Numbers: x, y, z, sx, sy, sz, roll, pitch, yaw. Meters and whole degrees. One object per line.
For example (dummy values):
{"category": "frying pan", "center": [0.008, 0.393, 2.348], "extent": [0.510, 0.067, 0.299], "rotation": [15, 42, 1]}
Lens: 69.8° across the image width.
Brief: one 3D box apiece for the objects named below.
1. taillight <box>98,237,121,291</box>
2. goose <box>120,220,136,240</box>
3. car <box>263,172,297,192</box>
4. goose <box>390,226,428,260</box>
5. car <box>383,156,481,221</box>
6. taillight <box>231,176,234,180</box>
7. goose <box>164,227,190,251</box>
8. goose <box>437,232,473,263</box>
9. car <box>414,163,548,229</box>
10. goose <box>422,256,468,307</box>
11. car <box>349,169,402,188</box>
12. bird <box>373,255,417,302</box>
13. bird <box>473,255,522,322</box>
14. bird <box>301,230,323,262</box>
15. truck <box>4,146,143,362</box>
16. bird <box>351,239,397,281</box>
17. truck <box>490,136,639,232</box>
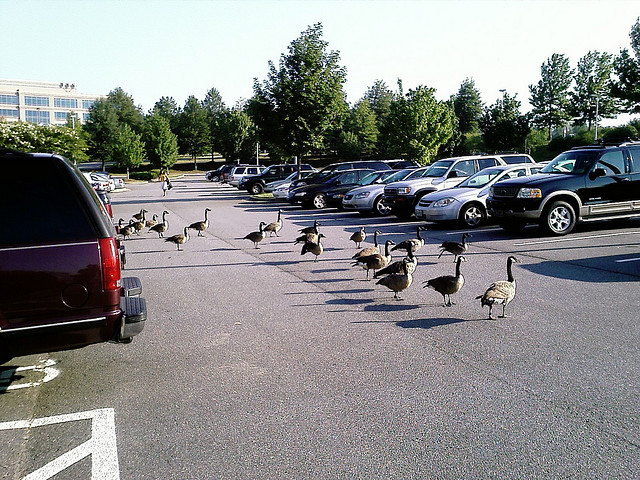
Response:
{"category": "taillight", "center": [-2.166, 0.234, 4.747], "extent": [0.162, 0.540, 0.238], "rotation": [6, 12, 38]}
{"category": "goose", "center": [-6.762, -0.304, 16.097], "extent": [0.441, 0.546, 1.124], "rotation": [-5, 11, -19]}
{"category": "car", "center": [-2.639, -4.550, 36.072], "extent": [3.168, 1.235, 1.498], "rotation": [-4, 7, -17]}
{"category": "goose", "center": [2.162, 0.073, 11.304], "extent": [0.928, 0.824, 0.328], "rotation": [-2, 8, 5]}
{"category": "car", "center": [4.423, -2.172, 18.413], "extent": [3.355, 1.719, 1.901], "rotation": [-7, 8, -15]}
{"category": "taillight", "center": [-9.448, -6.662, 49.209], "extent": [0.479, 0.334, 0.068], "rotation": [7, 13, 41]}
{"category": "goose", "center": [-4.362, -0.026, 14.089], "extent": [0.576, 0.526, 0.970], "rotation": [-5, 11, -20]}
{"category": "goose", "center": [3.241, 0.154, 11.102], "extent": [0.798, 0.690, 0.293], "rotation": [4, 6, 37]}
{"category": "car", "center": [5.602, -1.725, 16.607], "extent": [4.585, 1.804, 2.150], "rotation": [-7, 7, -15]}
{"category": "goose", "center": [2.105, 0.675, 7.757], "extent": [0.716, 0.892, 0.412], "rotation": [3, 5, 26]}
{"category": "car", "center": [2.705, -3.336, 23.400], "extent": [2.147, 0.845, 1.078], "rotation": [-10, 6, -27]}
{"category": "bird", "center": [1.313, 0.674, 8.134], "extent": [0.850, 0.720, 0.375], "rotation": [-2, 4, 34]}
{"category": "bird", "center": [2.691, 0.735, 7.060], "extent": [1.071, 0.914, 0.332], "rotation": [-3, 3, -33]}
{"category": "bird", "center": [-0.189, 0.208, 11.754], "extent": [0.492, 0.618, 1.050], "rotation": [-1, 10, 6]}
{"category": "truck", "center": [-2.820, 0.040, 5.562], "extent": [1.268, 1.328, 2.337], "rotation": [-4, 11, -24]}
{"category": "bird", "center": [1.089, 0.393, 9.546], "extent": [0.958, 0.826, 0.352], "rotation": [1, -6, 7]}
{"category": "truck", "center": [7.579, -1.648, 14.387], "extent": [4.220, 2.237, 2.403], "rotation": [-1, 1, -11]}
